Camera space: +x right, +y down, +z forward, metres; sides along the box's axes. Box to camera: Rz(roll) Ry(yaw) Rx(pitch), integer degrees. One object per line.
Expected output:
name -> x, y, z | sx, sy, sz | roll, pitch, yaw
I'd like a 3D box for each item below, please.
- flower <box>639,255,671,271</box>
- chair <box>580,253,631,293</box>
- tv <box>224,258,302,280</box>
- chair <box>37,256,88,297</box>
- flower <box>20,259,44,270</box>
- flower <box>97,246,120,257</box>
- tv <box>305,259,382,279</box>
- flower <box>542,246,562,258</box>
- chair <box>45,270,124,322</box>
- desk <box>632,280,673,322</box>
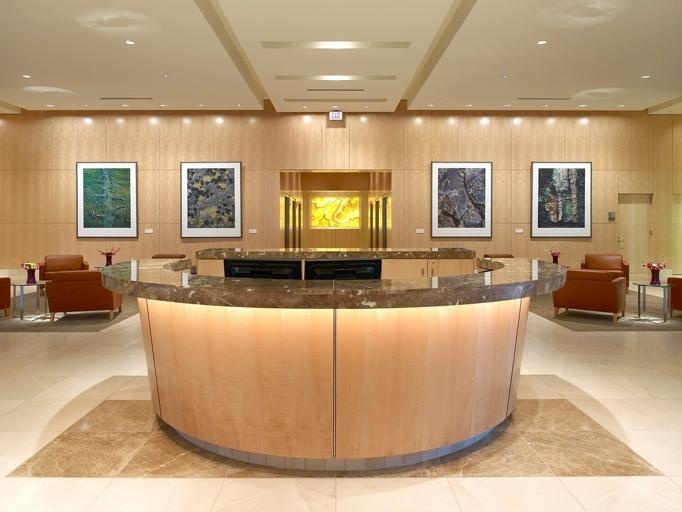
flower -> 7.043, 0.120, 10.844 | 0.492, 0.168, 0.491 | 1, -1, 42
chair -> 5.175, 0.353, 9.444 | 1.233, 0.913, 0.803 | -1, -5, 31
tv -> -1.018, 0.154, 5.915 | 1.019, 0.216, 0.415 | 2, 13, 12
chair -> -5.534, 0.385, 9.701 | 1.060, 0.578, 0.700 | 0, -2, -37
flower -> -6.399, 0.167, 10.007 | 0.328, 0.112, 0.292 | 0, -7, 6
flower -> -5.426, -0.120, 11.366 | 0.521, 0.149, 0.447 | 1, -3, -7
tv -> 0.050, 0.167, 5.798 | 0.588, 0.207, 0.348 | 0, -12, -1
flower -> 5.013, -0.109, 11.450 | 0.380, 0.168, 0.405 | 0, -3, 3
chair -> -3.915, 0.598, 7.349 | 1.208, 0.788, 0.827 | 0, 3, -5
desk -> 5.198, 0.738, 8.108 | 0.520, 0.468, 0.517 | -8, -8, -37
